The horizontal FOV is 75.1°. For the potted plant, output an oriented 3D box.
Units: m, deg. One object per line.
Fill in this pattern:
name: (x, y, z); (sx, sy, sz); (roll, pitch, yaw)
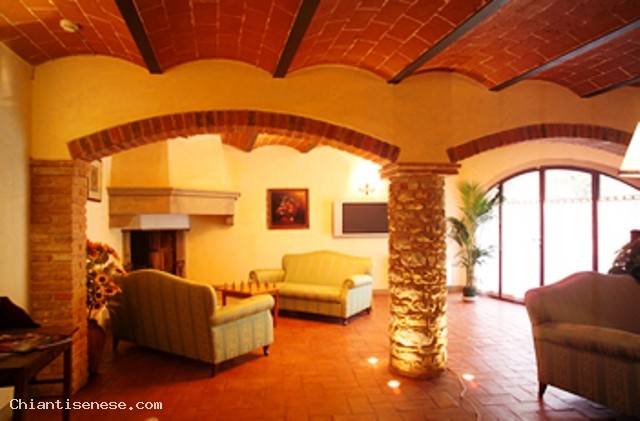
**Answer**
potted plant: (3.458, 0.690, 9.363); (1.051, 2.684, 1.164); (5, 7, 40)

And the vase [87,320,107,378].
vase: (-2.985, 1.837, 5.556); (0.203, 0.655, 0.486); (-3, 6, -27)

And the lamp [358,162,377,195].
lamp: (1.122, -0.719, 9.841); (0.422, 0.734, 0.147); (-1, 6, -16)

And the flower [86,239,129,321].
flower: (-3.097, 0.954, 5.984); (0.485, 1.152, 1.352); (-3, 6, -29)

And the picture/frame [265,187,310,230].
picture/frame: (-0.796, -0.020, 9.673); (0.977, 0.982, 0.097); (0, -2, -3)
